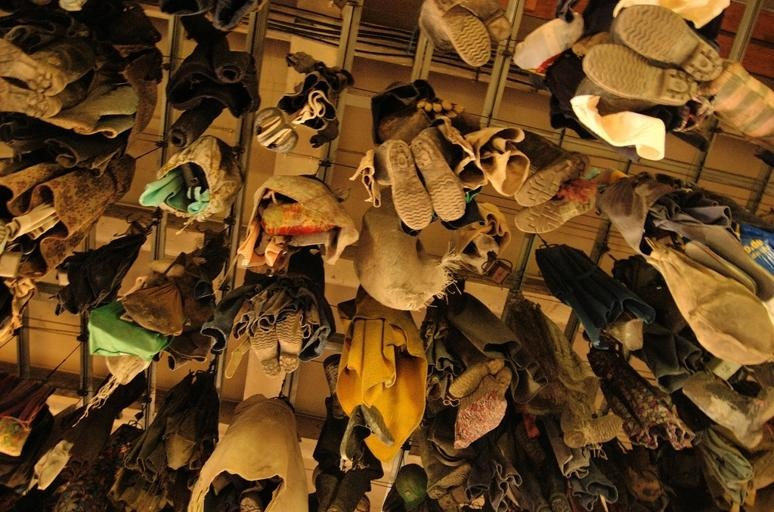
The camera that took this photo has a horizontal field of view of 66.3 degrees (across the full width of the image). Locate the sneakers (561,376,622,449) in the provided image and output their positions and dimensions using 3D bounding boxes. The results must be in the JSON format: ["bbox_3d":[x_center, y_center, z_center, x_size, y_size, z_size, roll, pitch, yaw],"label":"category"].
[{"bbox_3d":[1.092,0.838,3.185,0.275,0.244,0.284,46,15,-20],"label":"sneakers"}]

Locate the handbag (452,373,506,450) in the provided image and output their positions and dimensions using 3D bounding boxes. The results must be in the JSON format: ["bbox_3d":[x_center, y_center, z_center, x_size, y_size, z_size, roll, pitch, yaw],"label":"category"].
[{"bbox_3d":[0.516,0.813,3.189,0.232,0.401,0.127,30,3,13],"label":"handbag"}]

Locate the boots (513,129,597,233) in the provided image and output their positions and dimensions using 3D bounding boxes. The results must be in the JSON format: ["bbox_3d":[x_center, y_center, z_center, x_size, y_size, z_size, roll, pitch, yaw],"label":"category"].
[{"bbox_3d":[0.811,-0.349,2.911,0.212,0.357,0.500,-9,-12,-46],"label":"boots"}]

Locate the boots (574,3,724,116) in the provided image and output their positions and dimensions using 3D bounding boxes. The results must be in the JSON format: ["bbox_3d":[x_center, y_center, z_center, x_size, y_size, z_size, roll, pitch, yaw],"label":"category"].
[{"bbox_3d":[1.147,-0.891,2.673,0.543,0.401,0.182,20,7,-8],"label":"boots"}]

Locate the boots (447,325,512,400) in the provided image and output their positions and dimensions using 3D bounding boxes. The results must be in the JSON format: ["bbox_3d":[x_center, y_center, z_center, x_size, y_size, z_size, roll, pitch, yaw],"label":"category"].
[{"bbox_3d":[0.459,0.594,3.190,0.372,0.287,0.135,13,5,2],"label":"boots"}]

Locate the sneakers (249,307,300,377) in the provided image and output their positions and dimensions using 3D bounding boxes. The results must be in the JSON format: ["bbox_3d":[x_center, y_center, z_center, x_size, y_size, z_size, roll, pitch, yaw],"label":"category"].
[{"bbox_3d":[-0.559,0.463,3.049,0.255,0.355,0.136,1,12,-5],"label":"sneakers"}]

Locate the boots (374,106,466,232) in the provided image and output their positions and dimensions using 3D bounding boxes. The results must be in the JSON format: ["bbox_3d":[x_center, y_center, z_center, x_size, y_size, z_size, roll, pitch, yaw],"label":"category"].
[{"bbox_3d":[0.153,-0.406,2.781,0.391,0.559,0.181,-16,8,6],"label":"boots"}]
